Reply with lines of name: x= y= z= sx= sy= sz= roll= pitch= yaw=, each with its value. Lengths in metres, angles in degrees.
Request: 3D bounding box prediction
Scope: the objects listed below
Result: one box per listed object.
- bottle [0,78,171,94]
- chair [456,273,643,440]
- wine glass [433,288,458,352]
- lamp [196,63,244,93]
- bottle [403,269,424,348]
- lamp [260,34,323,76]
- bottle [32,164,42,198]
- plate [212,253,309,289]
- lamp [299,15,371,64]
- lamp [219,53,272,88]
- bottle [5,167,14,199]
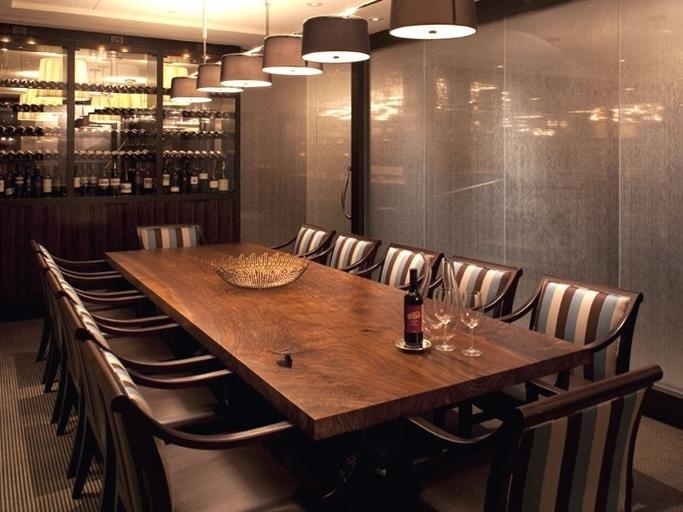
bottle: x=-2.762 y=-1.850 z=5.808 sx=1.667 sy=0.135 sz=0.082 roll=-8 pitch=15 yaw=-29
chair: x=1.070 y=0.671 z=2.875 sx=0.763 sy=0.950 sz=0.752 roll=-9 pitch=9 yaw=-23
wine glass: x=0.446 y=0.259 z=2.306 sx=0.104 sy=0.268 sz=0.167 roll=1 pitch=13 yaw=9
lamp: x=-1.001 y=-1.338 z=4.130 sx=0.318 sy=0.147 sz=0.301 roll=0 pitch=3 yaw=2
bottle: x=0.301 y=0.209 z=2.260 sx=0.081 sy=0.356 sz=0.181 roll=0 pitch=14 yaw=6
lamp: x=-0.318 y=-1.297 z=3.452 sx=0.412 sy=0.199 sz=0.401 roll=-7 pitch=17 yaw=-32
bottle: x=-3.220 y=-0.786 z=5.593 sx=0.116 sy=0.317 sz=0.047 roll=-11 pitch=17 yaw=-34
plate: x=-0.529 y=0.092 z=3.375 sx=0.391 sy=0.094 sz=0.369 roll=0 pitch=7 yaw=8
lamp: x=-0.038 y=-1.188 z=2.940 sx=0.379 sy=0.161 sz=0.374 roll=9 pitch=13 yaw=40
lamp: x=-0.691 y=-1.259 z=3.795 sx=0.305 sy=0.141 sz=0.289 roll=-1 pitch=3 yaw=2
bottle: x=-3.443 y=-0.761 z=5.490 sx=0.118 sy=0.292 sz=0.038 roll=-9 pitch=16 yaw=-29
